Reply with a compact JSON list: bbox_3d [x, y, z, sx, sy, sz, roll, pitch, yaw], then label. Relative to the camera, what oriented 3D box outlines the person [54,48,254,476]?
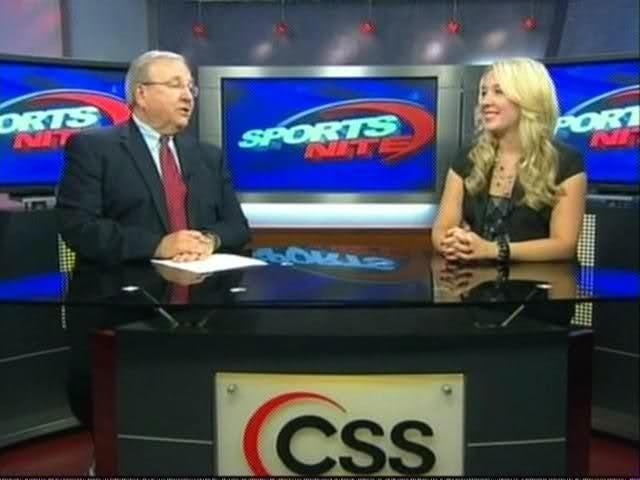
[{"bbox_3d":[-0.651,-0.074,2.053,0.762,1.285,0.991,-1,13,-7],"label":"person"}]

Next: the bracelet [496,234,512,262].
[{"bbox_3d":[0.688,0.015,1.996,0.056,0.116,0.092,-3,4,7],"label":"bracelet"}]

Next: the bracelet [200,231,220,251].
[{"bbox_3d":[-0.412,0.005,2.084,0.058,0.034,0.077,19,9,-46],"label":"bracelet"}]
